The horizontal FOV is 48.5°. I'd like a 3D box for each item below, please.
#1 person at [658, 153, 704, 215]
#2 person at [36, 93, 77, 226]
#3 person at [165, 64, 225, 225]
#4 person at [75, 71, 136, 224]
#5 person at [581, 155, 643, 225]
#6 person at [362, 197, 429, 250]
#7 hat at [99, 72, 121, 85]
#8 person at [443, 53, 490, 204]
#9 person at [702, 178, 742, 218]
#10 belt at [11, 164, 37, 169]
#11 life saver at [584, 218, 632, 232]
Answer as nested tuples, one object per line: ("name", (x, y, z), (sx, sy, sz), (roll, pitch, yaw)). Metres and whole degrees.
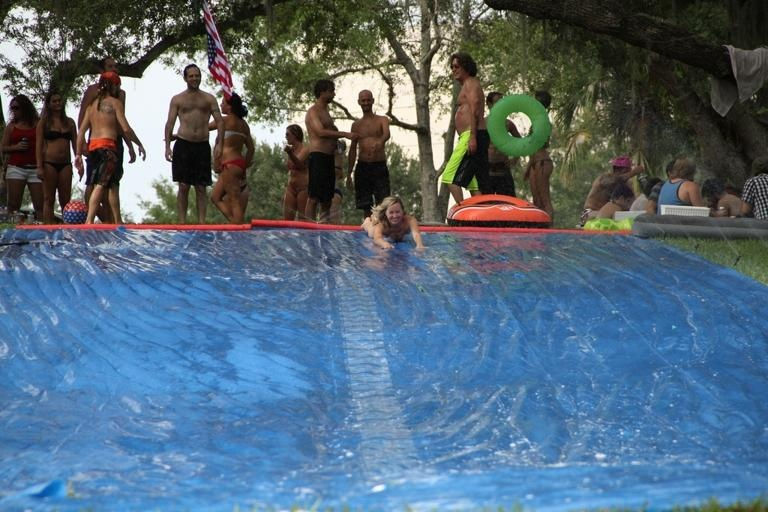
("person", (4.694, -1.077, 13.461), (0.596, 0.921, 0.849), (-4, 12, -8))
("person", (-5.428, -1.651, 14.100), (0.618, 2.223, 0.857), (0, 3, -12))
("person", (-2.870, -1.713, 12.910), (0.899, 2.443, 0.801), (0, 3, -21))
("person", (-4.176, -1.662, 12.867), (0.914, 2.327, 1.226), (0, 3, -17))
("person", (4.262, -0.919, 16.089), (0.949, 1.824, 0.910), (8, 5, 34))
("person", (0.131, -0.464, 11.846), (1.070, 0.728, 0.754), (2, 3, 23))
("hat", (-4.033, -2.622, 12.610), (0.279, 0.250, 0.220), (-10, 9, -35))
("person", (1.343, -2.086, 13.745), (0.731, 2.465, 0.754), (1, 3, 6))
("person", (6.094, -1.050, 15.292), (0.448, 0.492, 1.160), (30, 5, -7))
("belt", (-6.044, -1.505, 14.298), (0.384, 0.072, 0.043), (0, 3, -22))
("life saver", (3.486, -0.501, 13.313), (0.626, 0.191, 1.181), (0, 3, -15))
